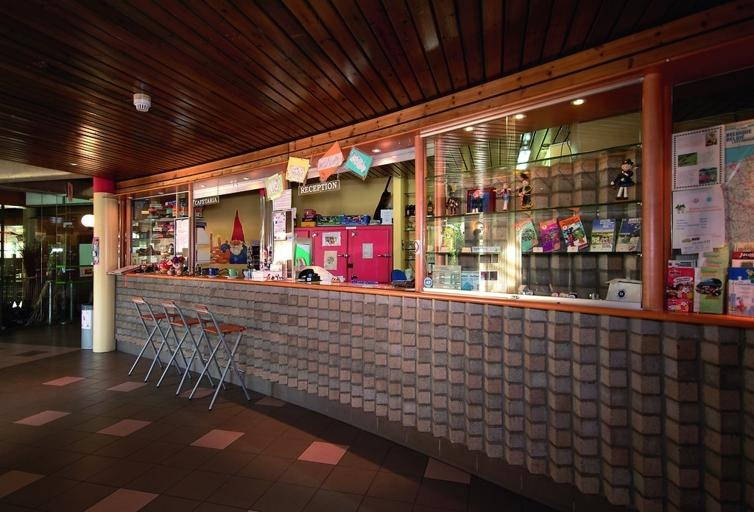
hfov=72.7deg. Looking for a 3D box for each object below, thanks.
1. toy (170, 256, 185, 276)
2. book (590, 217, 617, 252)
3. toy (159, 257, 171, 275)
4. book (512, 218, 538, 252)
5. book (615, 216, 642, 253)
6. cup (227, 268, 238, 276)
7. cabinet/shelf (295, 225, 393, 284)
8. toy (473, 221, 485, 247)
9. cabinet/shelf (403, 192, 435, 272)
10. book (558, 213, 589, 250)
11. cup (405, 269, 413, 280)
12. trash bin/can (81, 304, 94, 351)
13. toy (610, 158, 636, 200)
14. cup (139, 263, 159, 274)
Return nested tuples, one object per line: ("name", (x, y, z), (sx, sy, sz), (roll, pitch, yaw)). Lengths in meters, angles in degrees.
("toy", (-3.381, 0.171, 8.774), (0.247, 0.320, 0.156), (1, -8, 18))
("book", (2.246, -0.205, 5.094), (0.219, 0.328, 0.121), (5, 10, 27))
("toy", (-3.722, 0.172, 8.977), (0.175, 0.207, 0.461), (-5, 11, -27))
("book", (1.576, -0.223, 5.416), (0.303, 0.403, 0.066), (-12, -14, 29))
("book", (2.415, -0.203, 4.885), (0.078, 0.345, 0.267), (-5, 10, -28))
("cup", (-2.227, 0.246, 7.877), (0.123, 0.103, 0.148), (0, -8, -3))
("cabinet/shelf", (-0.551, -0.037, 9.931), (1.217, 1.064, 0.460), (0, -2, 16))
("toy", (1.112, -0.241, 5.613), (0.057, 0.214, 0.232), (8, 0, -17))
("cabinet/shelf", (0.836, -0.696, 10.407), (0.561, 1.420, 0.179), (2, -9, -4))
("book", (2.010, -0.237, 5.227), (0.272, 0.379, 0.103), (3, 9, 19))
("cup", (0.618, 0.313, 9.299), (0.167, 0.269, 0.155), (-2, -4, 0))
("trash bin/can", (-5.311, 1.307, 9.375), (0.209, 0.773, 0.273), (-5, 10, -29))
("toy", (2.413, -0.759, 5.026), (0.092, 0.387, 0.188), (-5, 10, -31))
("cup", (-4.092, 0.218, 9.197), (0.281, 0.097, 0.201), (-4, -7, 42))
